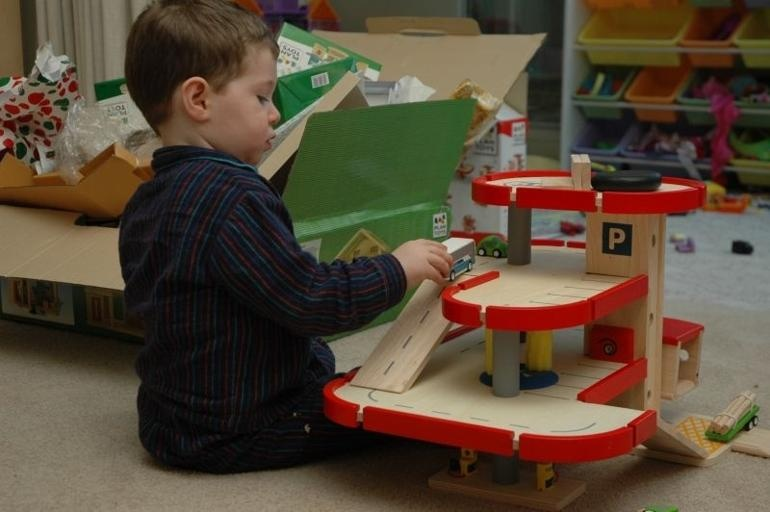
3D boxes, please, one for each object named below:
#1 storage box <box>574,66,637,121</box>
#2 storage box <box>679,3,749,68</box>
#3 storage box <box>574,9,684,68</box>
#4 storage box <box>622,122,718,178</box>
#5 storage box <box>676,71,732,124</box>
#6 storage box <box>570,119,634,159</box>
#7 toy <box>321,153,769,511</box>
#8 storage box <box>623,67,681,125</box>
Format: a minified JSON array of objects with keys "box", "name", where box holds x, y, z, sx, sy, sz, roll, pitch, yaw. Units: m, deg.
[{"box":[0.948,-0.720,3.105,0.190,0.124,0.290,9,51,38],"name":"storage box"},{"box":[1.310,-0.891,2.881,0.210,0.112,0.309,14,65,40],"name":"storage box"},{"box":[1.038,-0.902,3.010,0.342,0.116,0.317,8,60,30],"name":"storage box"},{"box":[1.185,-0.449,3.019,0.331,0.111,0.256,8,36,22],"name":"storage box"},{"box":[1.325,-0.657,2.982,0.190,0.095,0.275,16,60,47],"name":"storage box"},{"box":[0.951,-0.532,3.194,0.303,0.103,0.210,3,39,11],"name":"storage box"},{"box":[0.295,0.097,1.266,0.647,0.472,0.608,6,13,35],"name":"toy"},{"box":[1.139,-0.680,3.036,0.190,0.119,0.281,12,54,32],"name":"storage box"}]
